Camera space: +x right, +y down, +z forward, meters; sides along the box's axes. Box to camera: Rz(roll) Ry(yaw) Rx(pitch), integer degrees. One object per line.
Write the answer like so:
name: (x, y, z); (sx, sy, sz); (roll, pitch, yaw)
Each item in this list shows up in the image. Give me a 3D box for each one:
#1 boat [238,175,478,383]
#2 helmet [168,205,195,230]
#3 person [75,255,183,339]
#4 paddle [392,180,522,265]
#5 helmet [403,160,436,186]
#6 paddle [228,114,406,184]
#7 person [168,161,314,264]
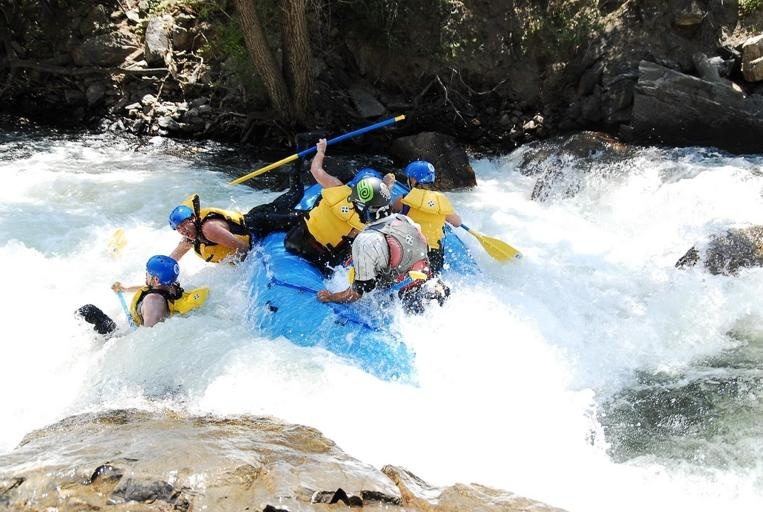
boat: (-0.527, 0.466, 10.810); (2.664, 1.162, 3.245); (-21, -2, -21)
helmet: (-2.835, -0.549, 10.455); (0.367, 0.301, 0.266); (-44, 9, -19)
person: (-3.491, 0.525, 10.099); (1.262, 1.267, 0.898); (15, 20, -18)
paddle: (1.145, -0.464, 11.329); (2.248, 0.322, 0.239); (36, 6, 5)
helmet: (0.565, -1.243, 10.667); (0.306, 0.336, 0.404); (-9, 49, -40)
paddle: (-1.118, -1.999, 13.902); (4.592, 0.229, 0.443); (-21, 15, 14)
person: (-2.262, -0.565, 10.817); (2.353, 1.011, 0.907); (-28, 47, -13)
